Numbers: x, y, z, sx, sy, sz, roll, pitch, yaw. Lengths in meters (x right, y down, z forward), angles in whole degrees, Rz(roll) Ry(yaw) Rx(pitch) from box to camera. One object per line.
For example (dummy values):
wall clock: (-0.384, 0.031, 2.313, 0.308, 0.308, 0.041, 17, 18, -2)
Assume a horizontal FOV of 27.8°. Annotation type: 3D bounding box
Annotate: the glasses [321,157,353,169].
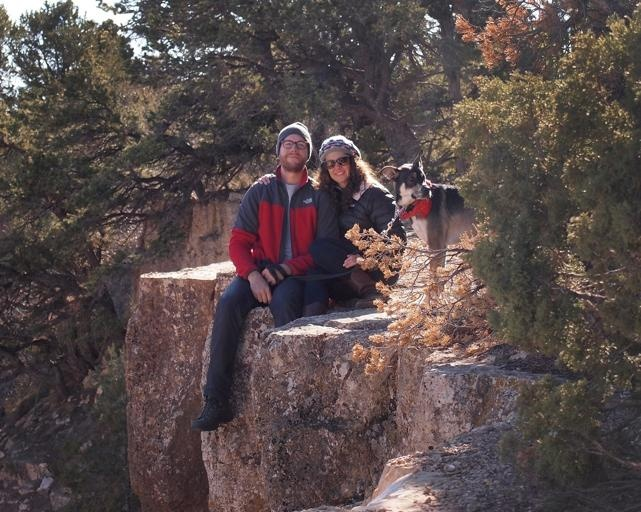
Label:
glasses: (0.271, -1.311, 18.109, 0.448, 0.168, 0.108, -4, -3, -1)
